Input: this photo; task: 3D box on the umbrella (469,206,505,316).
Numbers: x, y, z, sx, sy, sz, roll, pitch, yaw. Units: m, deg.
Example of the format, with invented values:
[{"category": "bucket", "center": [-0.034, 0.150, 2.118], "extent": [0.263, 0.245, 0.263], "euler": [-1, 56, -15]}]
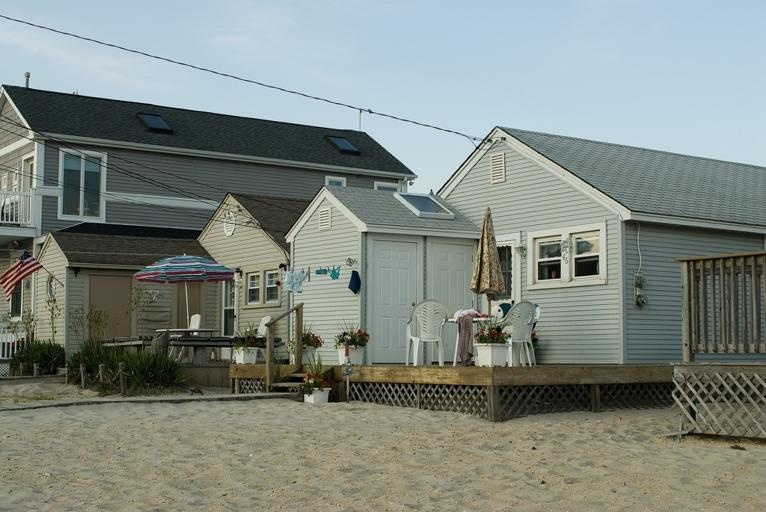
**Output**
[{"category": "umbrella", "center": [2.464, 0.101, 20.599], "extent": [0.790, 2.448, 0.990], "euler": [0, 6, 5]}]

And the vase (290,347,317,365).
[{"category": "vase", "center": [-2.023, 2.655, 23.122], "extent": [0.549, 0.306, 0.525], "euler": [0, -9, -1]}]

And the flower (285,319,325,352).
[{"category": "flower", "center": [-2.085, 2.137, 22.801], "extent": [0.966, 0.637, 0.977], "euler": [0, -6, 4]}]

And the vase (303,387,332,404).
[{"category": "vase", "center": [-1.579, 3.330, 20.702], "extent": [0.385, 0.257, 0.448], "euler": [7, -13, -33]}]

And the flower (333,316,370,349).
[{"category": "flower", "center": [-0.865, 1.998, 21.770], "extent": [0.705, 0.454, 0.667], "euler": [2, -2, -22]}]

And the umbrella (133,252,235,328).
[{"category": "umbrella", "center": [-5.926, 0.911, 26.574], "extent": [2.740, 2.108, 2.613], "euler": [-2, -4, -3]}]

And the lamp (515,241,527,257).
[{"category": "lamp", "center": [3.679, -0.177, 23.210], "extent": [0.110, 0.431, 0.336], "euler": [-5, 8, -39]}]
